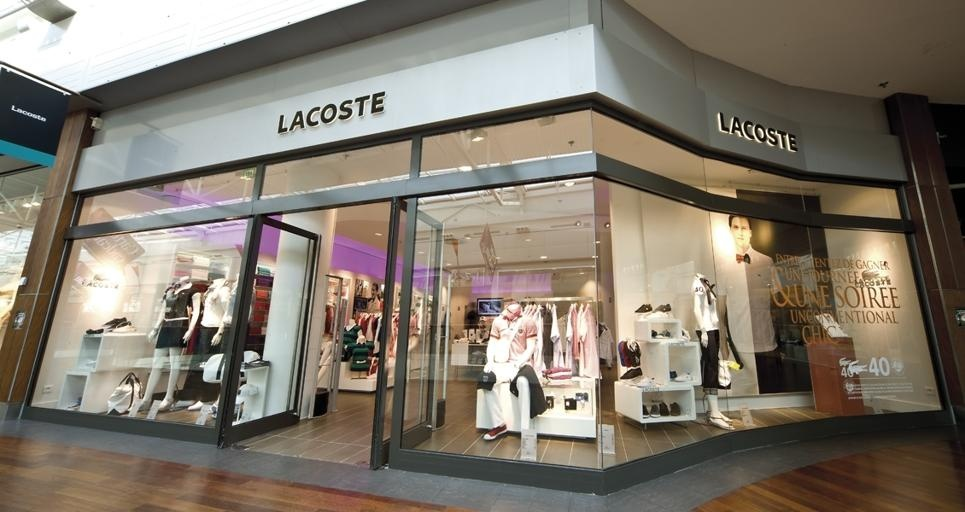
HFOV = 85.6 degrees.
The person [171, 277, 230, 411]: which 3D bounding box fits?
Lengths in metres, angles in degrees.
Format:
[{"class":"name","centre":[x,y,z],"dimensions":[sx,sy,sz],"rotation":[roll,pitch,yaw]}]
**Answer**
[{"class":"person","centre":[-4.894,1.539,9.251],"dimensions":[1.002,2.263,0.354],"rotation":[-7,-19,24]}]

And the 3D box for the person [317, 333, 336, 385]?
[{"class":"person","centre":[-3.115,2.088,10.336],"dimensions":[0.246,0.945,0.357],"rotation":[5,-17,-15]}]

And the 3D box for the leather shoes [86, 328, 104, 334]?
[{"class":"leather shoes","centre":[-7.229,1.401,9.679],"dimensions":[0.394,0.113,0.143],"rotation":[1,-5,0]}]

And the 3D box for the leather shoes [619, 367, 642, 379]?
[{"class":"leather shoes","centre":[2.383,1.878,8.311],"dimensions":[0.451,0.195,0.089],"rotation":[10,-19,-35]}]

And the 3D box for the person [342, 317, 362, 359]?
[{"class":"person","centre":[-3.099,1.969,12.214],"dimensions":[0.406,0.929,0.316],"rotation":[10,-19,-30]}]

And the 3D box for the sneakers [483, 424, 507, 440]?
[{"class":"sneakers","centre":[0.208,2.823,8.337],"dimensions":[0.474,0.162,0.175],"rotation":[-18,-11,-7]}]

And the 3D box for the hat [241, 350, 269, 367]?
[{"class":"hat","centre":[-4.163,1.891,9.444],"dimensions":[0.351,0.190,0.348],"rotation":[2,0,36]}]

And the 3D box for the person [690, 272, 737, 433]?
[{"class":"person","centre":[3.922,1.644,8.910],"dimensions":[0.395,2.590,0.911],"rotation":[-6,-18,23]}]

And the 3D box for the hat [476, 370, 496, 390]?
[{"class":"hat","centre":[0.069,2.028,8.399],"dimensions":[0.268,0.169,0.352],"rotation":[-3,-6,17]}]

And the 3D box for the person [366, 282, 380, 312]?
[{"class":"person","centre":[-2.817,1.085,13.779],"dimensions":[0.227,0.790,0.604],"rotation":[-2,-16,9]}]

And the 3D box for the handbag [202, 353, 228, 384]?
[{"class":"handbag","centre":[-4.720,1.989,9.222],"dimensions":[0.409,0.519,0.534],"rotation":[6,10,-17]}]

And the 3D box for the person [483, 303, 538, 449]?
[{"class":"person","centre":[0.454,1.850,8.352],"dimensions":[0.875,2.154,0.478],"rotation":[-1,-17,5]}]

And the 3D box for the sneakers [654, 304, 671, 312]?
[{"class":"sneakers","centre":[3.038,0.859,8.672],"dimensions":[0.297,0.118,0.050],"rotation":[7,-17,-24]}]

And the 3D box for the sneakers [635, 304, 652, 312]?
[{"class":"sneakers","centre":[2.644,0.851,8.505],"dimensions":[0.359,0.142,0.062],"rotation":[9,-18,-33]}]
